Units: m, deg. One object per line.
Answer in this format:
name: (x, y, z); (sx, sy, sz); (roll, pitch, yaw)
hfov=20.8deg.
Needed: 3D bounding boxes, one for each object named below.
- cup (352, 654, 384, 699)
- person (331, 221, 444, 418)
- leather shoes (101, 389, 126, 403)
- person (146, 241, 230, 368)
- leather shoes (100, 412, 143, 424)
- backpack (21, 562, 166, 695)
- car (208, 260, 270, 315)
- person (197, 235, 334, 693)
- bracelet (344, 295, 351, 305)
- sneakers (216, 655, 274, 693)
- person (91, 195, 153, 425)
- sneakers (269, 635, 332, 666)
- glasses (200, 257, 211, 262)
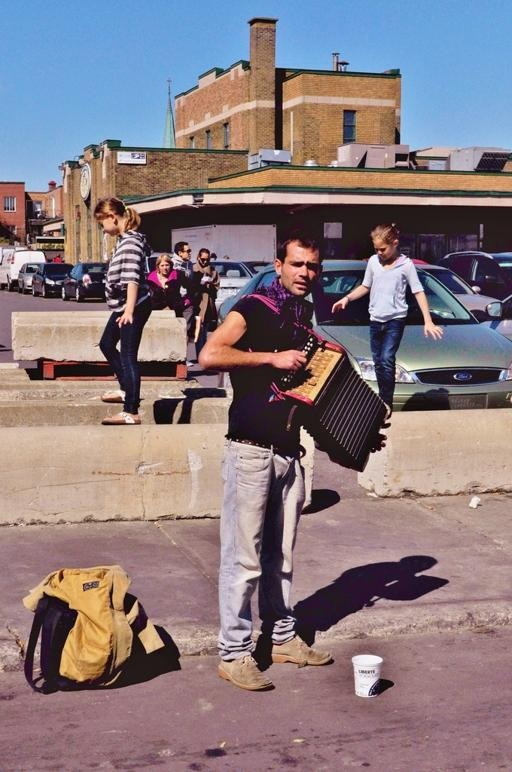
cup: (0.470, 1.246, 6.006); (0.159, 0.169, 0.162); (0, -2, 0)
person: (0.996, -0.500, 10.126); (0.382, 1.357, 0.811); (-6, 15, -24)
leather shoes: (-0.894, 0.060, 9.151); (0.217, 0.079, 0.091); (-3, 3, -39)
person: (-0.734, -0.998, 15.199); (0.709, 0.628, 1.249); (-2, 15, -6)
leather shoes: (-0.836, 0.214, 8.832); (0.181, 0.074, 0.102); (2, -3, -11)
backpack: (-0.676, 1.041, 6.138); (0.584, 0.576, 0.450); (-3, 3, 0)
car: (-0.349, -1.839, 25.480); (0.863, 0.637, 1.902); (-1, 11, 1)
person: (0.064, 0.340, 6.072); (0.434, 1.942, 0.576); (9, 16, 30)
bracelet: (0.694, -0.653, 10.513); (0.043, 0.060, 0.021); (15, 21, 21)
sneakers: (-0.045, 1.249, 6.117); (0.256, 0.121, 0.111); (5, 7, 39)
person: (-0.840, -0.444, 8.916); (0.356, 1.504, 0.744); (0, 14, -5)
sneakers: (0.202, 1.206, 6.413); (0.303, 0.139, 0.113); (-1, 5, 6)
glasses: (-0.562, -1.424, 15.565); (0.063, 0.025, 0.091); (0, -9, -10)
